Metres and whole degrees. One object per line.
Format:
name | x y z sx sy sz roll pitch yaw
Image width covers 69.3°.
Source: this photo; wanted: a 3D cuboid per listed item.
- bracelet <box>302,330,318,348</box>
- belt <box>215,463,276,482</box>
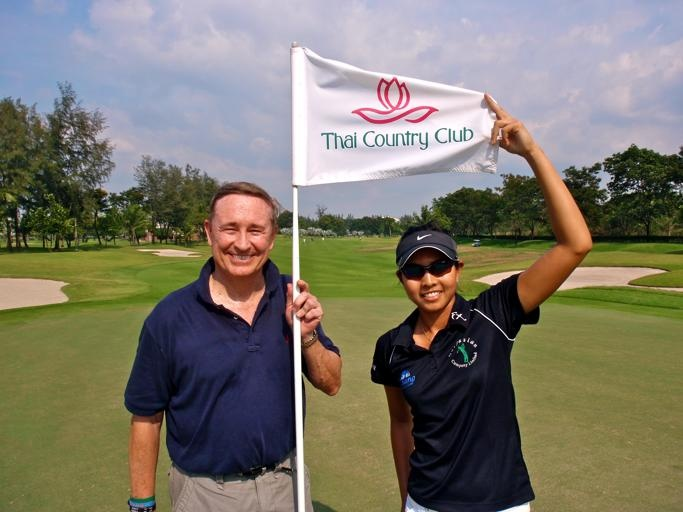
bracelet | -0.253 0.703 4.071 0.129 0.060 0.140 -32 33 28
belt | -0.731 1.722 3.919 0.480 0.102 0.044 -1 3 -14
